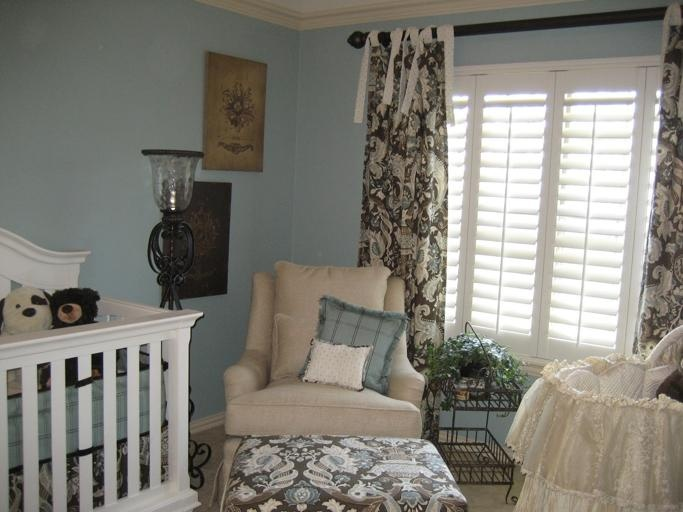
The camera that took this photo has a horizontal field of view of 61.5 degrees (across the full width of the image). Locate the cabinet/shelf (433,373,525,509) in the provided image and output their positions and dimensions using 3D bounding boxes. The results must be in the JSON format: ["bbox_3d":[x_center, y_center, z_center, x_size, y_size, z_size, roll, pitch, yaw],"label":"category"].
[{"bbox_3d":[0.787,0.947,3.608,0.548,0.842,0.909,0,1,1],"label":"cabinet/shelf"}]

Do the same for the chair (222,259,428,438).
[{"bbox_3d":[-0.095,0.414,3.319,0.950,0.917,0.970,1,-3,2],"label":"chair"}]

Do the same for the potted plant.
[{"bbox_3d":[0.749,0.662,3.406,0.511,0.376,0.479,2,3,-8],"label":"potted plant"}]
